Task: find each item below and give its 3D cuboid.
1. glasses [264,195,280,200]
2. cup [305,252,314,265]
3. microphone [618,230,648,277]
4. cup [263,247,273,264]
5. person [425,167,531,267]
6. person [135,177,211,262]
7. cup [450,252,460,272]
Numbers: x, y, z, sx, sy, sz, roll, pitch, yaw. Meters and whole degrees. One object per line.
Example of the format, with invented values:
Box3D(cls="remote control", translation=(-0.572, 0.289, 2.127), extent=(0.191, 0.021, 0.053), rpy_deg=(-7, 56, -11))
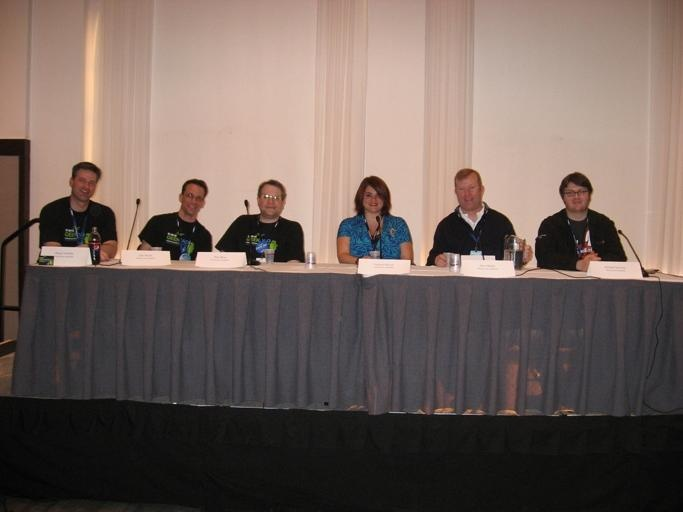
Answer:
Box3D(cls="glasses", translation=(-0.682, -0.569, 6.537), extent=(0.128, 0.040, 0.031), rpy_deg=(1, 2, -1))
Box3D(cls="cup", translation=(-0.255, 0.025, 5.479), extent=(0.076, 0.137, 0.087), rpy_deg=(0, 1, 7))
Box3D(cls="microphone", translation=(2.877, -0.042, 6.593), extent=(0.118, 0.096, 0.402), rpy_deg=(-24, 22, 8))
Box3D(cls="cup", translation=(-0.636, 0.000, 5.953), extent=(0.095, 0.120, 0.106), rpy_deg=(-2, -2, 38))
Box3D(cls="person", translation=(1.250, -0.369, 6.434), extent=(0.784, 0.901, 0.385), rpy_deg=(2, 2, 17))
Box3D(cls="person", translation=(-1.702, -0.377, 6.856), extent=(0.685, 0.813, 0.474), rpy_deg=(1, 2, 9))
Box3D(cls="cup", translation=(0.914, 0.057, 5.378), extent=(0.100, 0.173, 0.112), rpy_deg=(0, 1, 22))
